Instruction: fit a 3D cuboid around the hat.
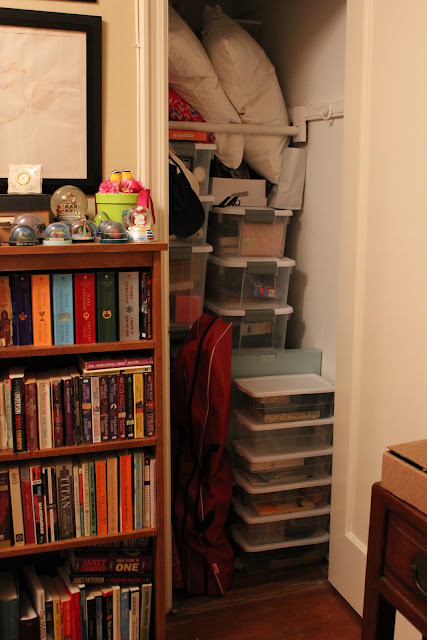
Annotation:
[{"bbox_3d":[-0.123,-0.443,1.921,0.098,0.282,0.173,5,7,43],"label":"hat"}]
